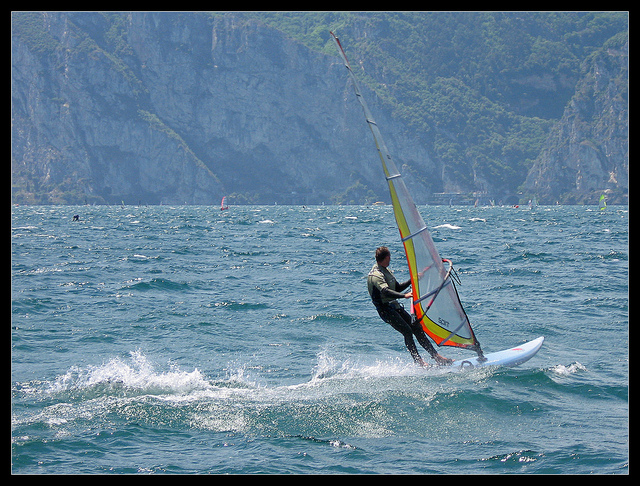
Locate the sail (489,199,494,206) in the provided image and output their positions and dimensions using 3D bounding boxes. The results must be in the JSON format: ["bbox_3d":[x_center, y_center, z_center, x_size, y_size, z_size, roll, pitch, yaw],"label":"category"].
[{"bbox_3d":[54.881,-13.306,393.652,0.666,1.983,2.766,-11,-2,-1],"label":"sail"}]

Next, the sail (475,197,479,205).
[{"bbox_3d":[49.633,-13.015,389.951,0.866,0.603,5.445,4,26,15],"label":"sail"}]
